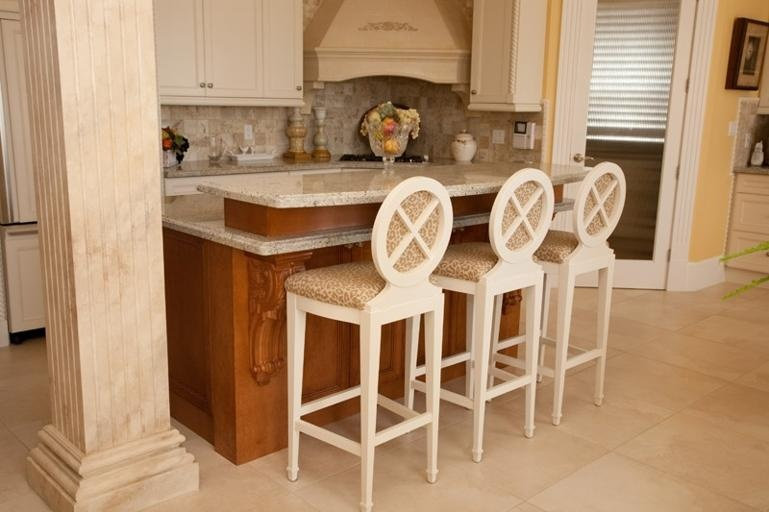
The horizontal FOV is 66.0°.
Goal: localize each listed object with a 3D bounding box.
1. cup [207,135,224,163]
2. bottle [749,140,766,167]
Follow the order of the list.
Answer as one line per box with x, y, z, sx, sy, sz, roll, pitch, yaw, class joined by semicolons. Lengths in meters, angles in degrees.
-1.608;-1.021;5.622;0.137;0.238;0.188;-2;16;-1;cup
4.013;-1.101;6.350;0.135;0.245;0.460;8;18;31;bottle
